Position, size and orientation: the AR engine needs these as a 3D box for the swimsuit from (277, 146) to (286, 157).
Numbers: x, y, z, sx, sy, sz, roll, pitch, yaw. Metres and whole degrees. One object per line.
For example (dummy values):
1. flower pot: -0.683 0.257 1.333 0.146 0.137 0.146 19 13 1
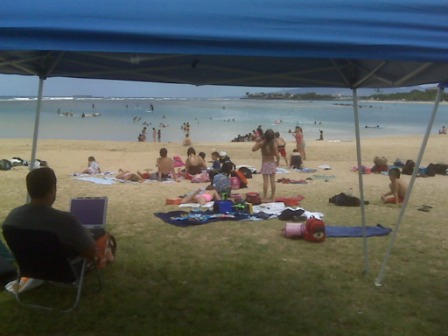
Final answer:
1. swimsuit: 2.817 -0.805 18.318 0.502 0.422 0.403 15 29 36

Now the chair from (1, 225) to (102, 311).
1. chair: -2.423 1.291 5.201 1.146 1.170 1.415 1 0 10

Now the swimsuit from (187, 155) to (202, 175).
1. swimsuit: -1.130 -0.032 14.728 0.492 0.576 0.319 -3 -3 -13

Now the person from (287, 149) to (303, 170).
1. person: 3.339 -0.388 18.000 0.606 0.892 1.647 11 25 11

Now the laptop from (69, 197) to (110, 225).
1. laptop: -2.186 0.692 6.302 0.631 0.420 0.416 2 1 -5

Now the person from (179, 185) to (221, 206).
1. person: -0.628 0.751 10.666 0.773 0.579 1.001 -5 -7 42

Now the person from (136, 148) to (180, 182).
1. person: -2.321 -0.084 14.017 1.443 1.193 0.933 -5 -7 41

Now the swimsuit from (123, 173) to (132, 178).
1. swimsuit: -3.515 0.275 13.996 0.251 0.062 0.156 -7 21 35

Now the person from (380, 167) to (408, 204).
1. person: 4.665 0.474 10.510 0.646 1.011 1.015 -2 -5 12

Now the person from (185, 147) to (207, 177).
1. person: -1.070 -0.201 14.783 0.810 1.104 0.448 3 -6 -36

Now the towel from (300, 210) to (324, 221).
1. towel: 2.069 1.121 8.744 0.407 0.110 0.262 11 12 -7

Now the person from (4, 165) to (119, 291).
1. person: -2.590 0.965 6.188 1.515 1.983 1.178 8 24 5

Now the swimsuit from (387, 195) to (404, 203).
1. swimsuit: 4.660 0.843 10.430 0.503 0.180 0.421 -2 4 21

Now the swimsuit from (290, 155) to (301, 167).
1. swimsuit: 3.266 -0.340 17.371 0.548 0.709 0.440 6 12 17

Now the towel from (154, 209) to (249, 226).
1. towel: -0.479 1.178 9.055 1.133 0.064 0.689 -1 11 -15

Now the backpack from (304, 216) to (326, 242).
1. backpack: 1.829 1.223 7.725 0.488 0.456 0.492 -4 1 -4

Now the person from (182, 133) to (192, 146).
1. person: -2.777 -2.078 28.691 0.674 1.064 2.328 0 -5 -6

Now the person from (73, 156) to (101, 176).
1. person: -5.505 -0.052 15.467 0.976 0.618 0.633 -1 -3 -5
